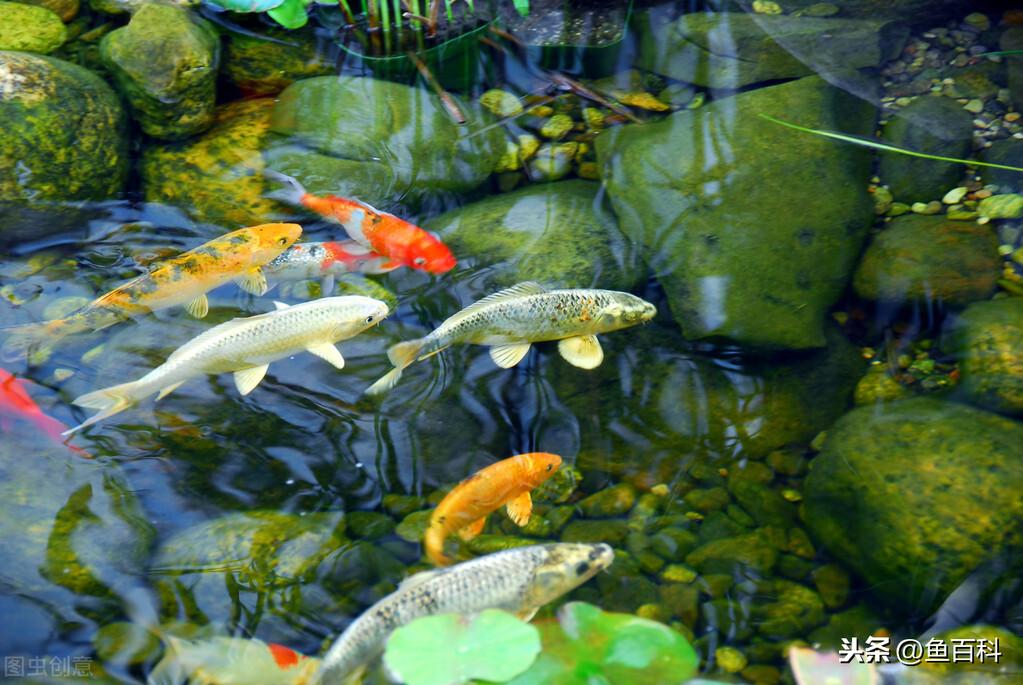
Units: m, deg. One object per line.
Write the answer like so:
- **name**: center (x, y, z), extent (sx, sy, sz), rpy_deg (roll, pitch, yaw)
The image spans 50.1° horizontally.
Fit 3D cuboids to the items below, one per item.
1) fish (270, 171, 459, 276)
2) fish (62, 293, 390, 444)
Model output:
- **fish**: center (-0.765, -0.584, 5.590), extent (1.082, 0.357, 0.348), rpy_deg (22, 69, 0)
- **fish**: center (-1.232, 0.096, 5.210), extent (1.552, 0.341, 0.483), rpy_deg (-14, 66, -8)
